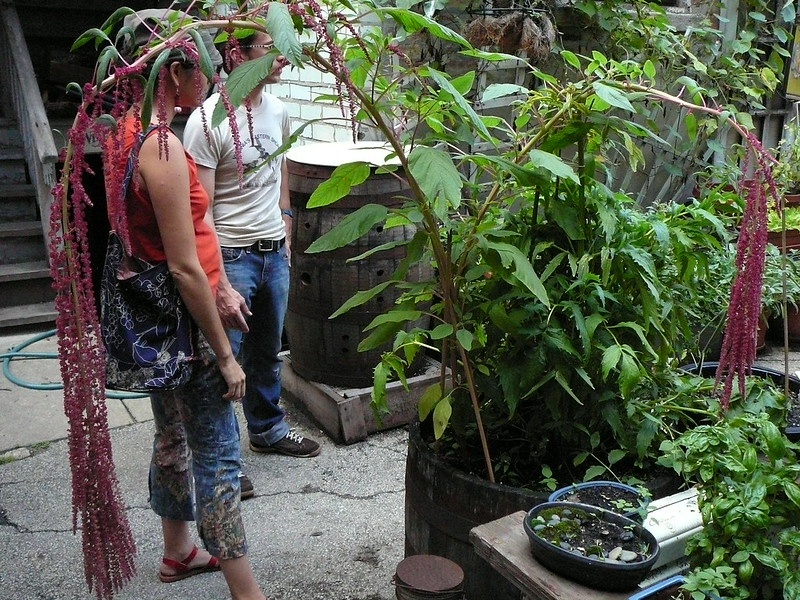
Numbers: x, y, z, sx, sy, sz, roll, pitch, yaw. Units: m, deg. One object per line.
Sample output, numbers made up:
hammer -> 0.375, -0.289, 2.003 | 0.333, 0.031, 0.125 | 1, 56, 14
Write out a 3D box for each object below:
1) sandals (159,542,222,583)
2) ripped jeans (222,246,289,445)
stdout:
sandals -> -0.847, 1.072, 2.750 | 0.259, 0.099, 0.113 | -2, 3, -36
ripped jeans -> -0.710, 0.238, 3.382 | 0.358, 1.004, 0.258 | -7, 1, -37
